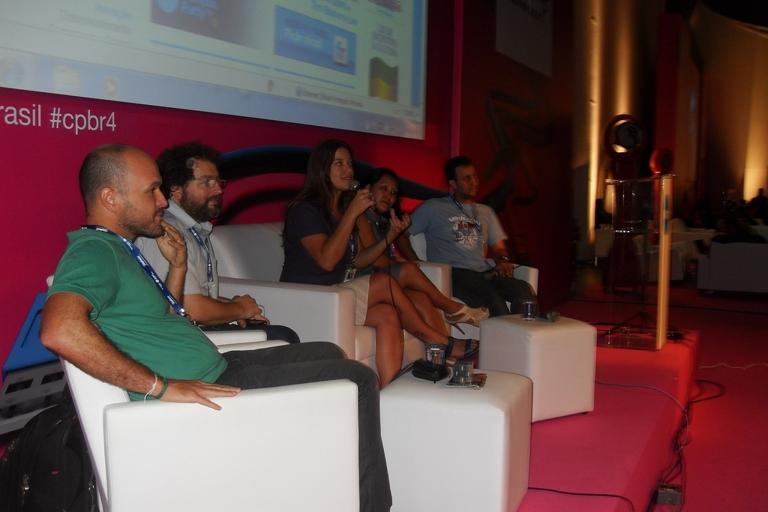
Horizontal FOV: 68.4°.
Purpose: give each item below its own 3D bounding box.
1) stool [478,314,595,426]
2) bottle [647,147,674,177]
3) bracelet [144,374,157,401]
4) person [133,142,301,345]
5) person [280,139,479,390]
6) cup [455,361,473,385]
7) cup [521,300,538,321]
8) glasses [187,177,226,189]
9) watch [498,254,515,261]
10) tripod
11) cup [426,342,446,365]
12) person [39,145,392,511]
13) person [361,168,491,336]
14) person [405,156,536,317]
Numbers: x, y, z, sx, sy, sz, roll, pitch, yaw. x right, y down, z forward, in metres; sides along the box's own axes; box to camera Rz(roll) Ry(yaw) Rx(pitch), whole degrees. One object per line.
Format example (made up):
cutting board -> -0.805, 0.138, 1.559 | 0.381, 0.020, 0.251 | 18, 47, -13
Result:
stool -> 0.827, 0.524, 3.067 | 0.531, 0.585, 0.541 | 1, 2, 37
bottle -> 3.165, -1.089, 6.476 | 0.225, 0.320, 0.318 | 0, 2, 28
bracelet -> -0.719, 0.403, 1.754 | 0.043, 0.069, 0.025 | -2, 3, -18
person -> -0.877, -0.085, 3.000 | 0.909, 1.217, 0.668 | 0, 1, -11
person -> -0.067, 0.108, 3.253 | 1.065, 1.579, 0.538 | -4, 7, 16
cup -> 0.314, 0.475, 2.309 | 0.087, 0.091, 0.076 | -1, -3, 31
cup -> 0.768, 0.292, 2.997 | 0.087, 0.091, 0.089 | 1, -4, 0
glasses -> -0.816, -0.337, 2.623 | 0.075, 0.023, 0.076 | -8, -8, 31
watch -> 0.967, 0.013, 4.515 | 0.085, 0.030, 0.086 | 2, 1, 32
tripod -> 1.812, 0.236, 4.088 | 0.247, 0.855, 0.495 | -3, 3, -43
cup -> 0.226, 0.426, 2.419 | 0.092, 0.093, 0.054 | 3, 3, 34
person -> -0.584, 0.229, 2.573 | 1.404, 1.602, 1.002 | 1, 0, -21
person -> 0.179, -0.022, 3.472 | 0.974, 1.005, 0.424 | -1, 0, 34
person -> 0.732, -0.055, 4.096 | 0.740, 1.327, 1.088 | -4, 8, -37
